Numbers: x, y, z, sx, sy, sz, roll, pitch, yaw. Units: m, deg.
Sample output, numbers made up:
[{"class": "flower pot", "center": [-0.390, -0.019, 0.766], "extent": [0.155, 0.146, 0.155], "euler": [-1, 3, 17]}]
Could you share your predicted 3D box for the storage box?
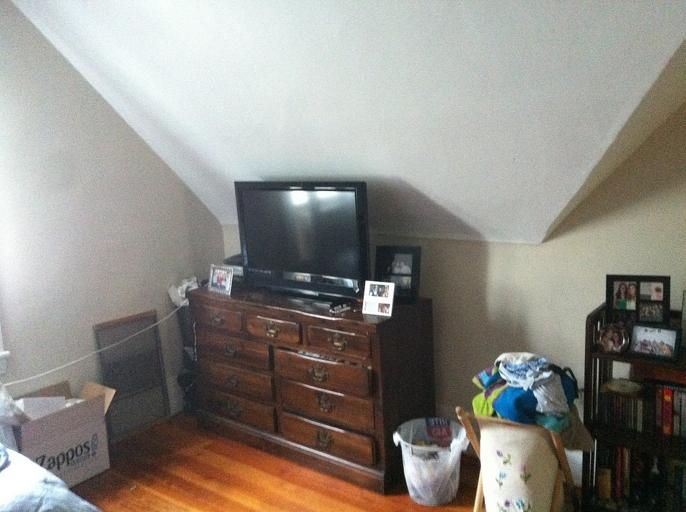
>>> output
[{"class": "storage box", "center": [-1.627, 1.045, 3.030], "extent": [0.523, 0.537, 0.406], "euler": [-1, 5, -34]}]

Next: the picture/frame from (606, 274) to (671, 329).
[{"class": "picture/frame", "center": [1.366, 0.212, 2.353], "extent": [0.219, 0.226, 0.030], "euler": [1, 2, 34]}]

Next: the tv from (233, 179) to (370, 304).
[{"class": "tv", "center": [-0.216, -0.098, 3.067], "extent": [0.670, 0.527, 0.077], "euler": [9, 19, 32]}]

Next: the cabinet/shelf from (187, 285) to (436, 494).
[{"class": "cabinet/shelf", "center": [-0.270, 0.747, 3.323], "extent": [1.412, 0.957, 0.572], "euler": [5, 11, 33]}]

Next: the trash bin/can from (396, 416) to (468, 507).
[{"class": "trash bin/can", "center": [0.463, 1.111, 2.851], "extent": [0.408, 0.347, 0.379], "euler": [-4, 12, -12]}]
